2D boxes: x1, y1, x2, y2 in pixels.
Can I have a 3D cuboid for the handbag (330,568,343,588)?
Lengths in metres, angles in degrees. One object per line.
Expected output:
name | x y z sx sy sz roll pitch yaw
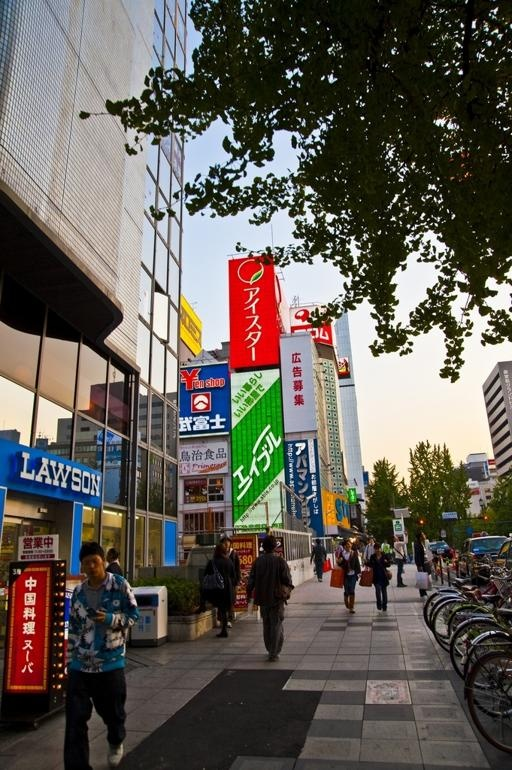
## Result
handbag | 2.137 5.090 12.454 0.396 0.455 0.336 5 -18 -34

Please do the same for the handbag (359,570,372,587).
handbag | 2.895 5.027 12.271 0.315 0.367 0.343 -7 -15 5

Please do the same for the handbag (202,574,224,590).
handbag | -0.889 4.256 10.150 0.488 0.538 0.290 -1 -26 2

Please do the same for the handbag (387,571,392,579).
handbag | 3.511 4.995 12.354 0.071 0.230 0.258 -12 -16 25

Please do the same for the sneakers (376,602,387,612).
sneakers | 3.324 5.833 12.387 0.223 0.238 0.451 -7 -15 6

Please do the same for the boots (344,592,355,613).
boots | 2.507 5.772 12.493 0.192 0.500 0.655 -5 -15 2

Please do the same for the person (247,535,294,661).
person | 0.247 3.500 7.826 0.764 1.863 1.022 -5 -15 -1

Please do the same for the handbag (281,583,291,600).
handbag | 0.517 3.447 7.816 0.148 0.270 0.420 -6 -15 3

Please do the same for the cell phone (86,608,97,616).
cell phone | -1.235 1.708 3.527 0.045 0.045 0.081 -18 -29 -7
